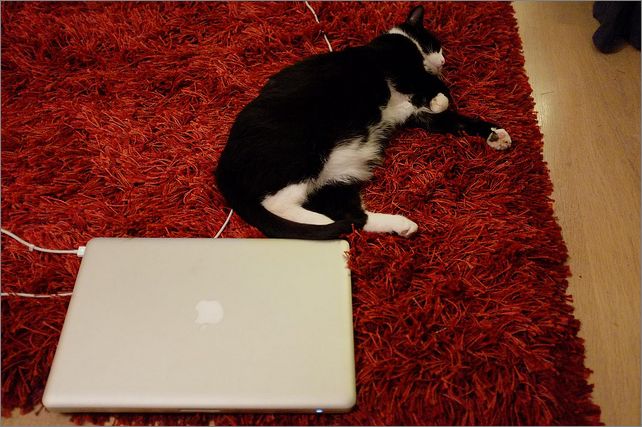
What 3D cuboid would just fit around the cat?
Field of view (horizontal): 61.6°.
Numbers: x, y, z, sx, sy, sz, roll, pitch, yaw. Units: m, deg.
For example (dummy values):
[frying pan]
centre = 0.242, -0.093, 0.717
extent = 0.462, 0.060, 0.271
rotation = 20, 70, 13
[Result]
[cat]
centre = 0.142, -0.282, 1.882
extent = 0.909, 0.224, 0.705
rotation = -18, 70, -3
